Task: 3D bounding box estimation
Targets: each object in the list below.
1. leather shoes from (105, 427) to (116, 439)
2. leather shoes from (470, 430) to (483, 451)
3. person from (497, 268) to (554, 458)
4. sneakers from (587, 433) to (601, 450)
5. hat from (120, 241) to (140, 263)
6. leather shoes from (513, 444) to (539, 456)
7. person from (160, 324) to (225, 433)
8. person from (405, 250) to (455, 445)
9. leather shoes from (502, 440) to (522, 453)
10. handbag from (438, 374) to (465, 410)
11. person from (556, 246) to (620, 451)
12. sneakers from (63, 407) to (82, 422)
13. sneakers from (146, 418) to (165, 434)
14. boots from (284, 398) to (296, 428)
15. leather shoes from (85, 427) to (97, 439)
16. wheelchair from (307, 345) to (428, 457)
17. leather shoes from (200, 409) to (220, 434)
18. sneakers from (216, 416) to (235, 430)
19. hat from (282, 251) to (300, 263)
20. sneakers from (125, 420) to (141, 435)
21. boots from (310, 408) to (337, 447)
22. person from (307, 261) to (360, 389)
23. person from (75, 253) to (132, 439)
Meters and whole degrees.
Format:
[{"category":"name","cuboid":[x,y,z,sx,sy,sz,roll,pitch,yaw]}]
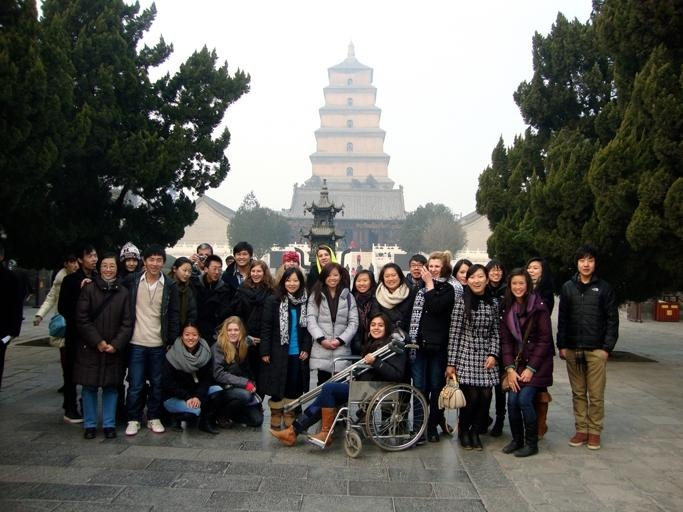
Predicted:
[{"category":"leather shoes","cuboid":[-2.368,1.806,5.426,0.126,0.103,0.172,4,-5,-25]},{"category":"leather shoes","cuboid":[1.374,1.866,5.349,0.136,0.163,0.117,2,-4,0]},{"category":"person","cuboid":[1.854,1.053,5.311,0.505,1.831,0.348,0,-5,23]},{"category":"sneakers","cuboid":[2.596,1.894,5.413,0.149,0.154,0.152,1,-5,13]},{"category":"hat","cuboid":[-2.475,-0.054,6.197,0.190,0.235,0.245,7,-27,-39]},{"category":"leather shoes","cuboid":[1.804,1.902,5.214,0.269,0.117,0.094,-2,1,-7]},{"category":"person","cuboid":[-1.628,1.342,5.755,0.724,1.166,0.623,4,5,24]},{"category":"person","cuboid":[0.972,0.945,5.640,0.448,1.967,0.674,5,-11,6]},{"category":"leather shoes","cuboid":[1.691,1.901,5.266,0.244,0.109,0.088,4,-11,-35]},{"category":"handbag","cuboid":[1.101,1.373,5.269,0.272,0.302,0.330,1,-5,13]},{"category":"person","cuboid":[2.564,0.948,5.516,0.556,2.048,0.182,0,-5,25]},{"category":"sneakers","cuboid":[-3.008,1.772,5.920,0.106,0.143,0.311,6,-6,-39]},{"category":"sneakers","cuboid":[-1.983,1.828,5.668,0.093,0.090,0.230,11,-14,-39]},{"category":"boots","cuboid":[-0.552,1.691,5.659,0.081,0.365,0.189,6,-3,4]},{"category":"leather shoes","cuboid":[-2.557,1.800,5.393,0.119,0.109,0.191,4,-5,-25]},{"category":"wheelchair","cuboid":[0.138,1.472,5.518,1.247,1.191,0.835,4,-10,-13]},{"category":"leather shoes","cuboid":[-1.385,1.819,5.721,0.121,0.238,0.307,15,-17,-37]},{"category":"sneakers","cuboid":[-1.294,1.863,5.891,0.086,0.120,0.257,3,-11,-40]},{"category":"hat","cuboid":[-0.650,0.030,6.675,0.142,0.128,0.179,-1,-6,-35]},{"category":"sneakers","cuboid":[-2.201,1.829,5.578,0.077,0.094,0.228,6,-27,0]},{"category":"boots","cuboid":[-0.171,1.691,5.198,0.257,0.383,0.228,2,-4,1]},{"category":"person","cuboid":[-0.118,0.965,5.838,0.577,1.606,0.529,2,11,3]},{"category":"person","cuboid":[-2.482,0.923,5.513,0.531,1.873,0.332,4,-5,-24]}]
